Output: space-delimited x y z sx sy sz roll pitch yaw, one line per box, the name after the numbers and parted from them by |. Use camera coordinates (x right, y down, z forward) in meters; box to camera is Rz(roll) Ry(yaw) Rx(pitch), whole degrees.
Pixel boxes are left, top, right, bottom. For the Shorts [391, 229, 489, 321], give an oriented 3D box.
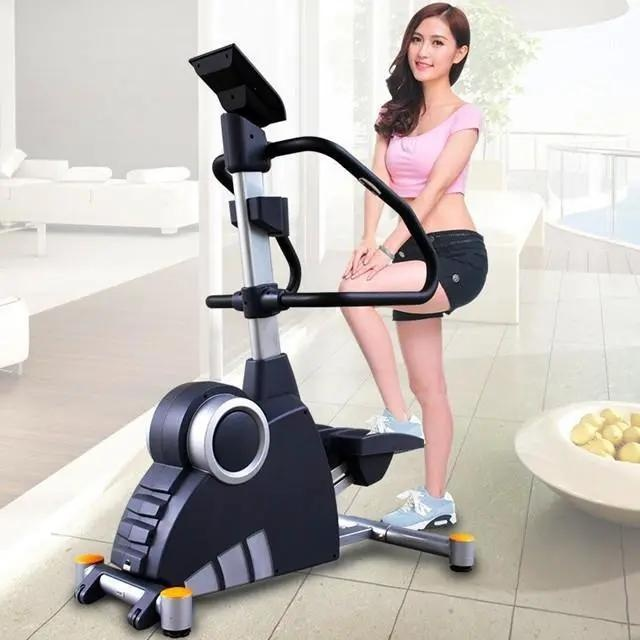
0.396 -0.164 1.777 0.258 0.324 0.350 6 -7 -14 | Shorts

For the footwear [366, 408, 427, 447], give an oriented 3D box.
0.250 0.346 1.817 0.224 0.099 0.084 3 6 20 | footwear

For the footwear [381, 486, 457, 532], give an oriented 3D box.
0.306 0.561 1.664 0.239 0.114 0.102 0 7 -9 | footwear

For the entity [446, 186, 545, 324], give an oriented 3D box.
1.005 -0.379 3.442 0.608 0.429 0.925 4 21 14 | entity
